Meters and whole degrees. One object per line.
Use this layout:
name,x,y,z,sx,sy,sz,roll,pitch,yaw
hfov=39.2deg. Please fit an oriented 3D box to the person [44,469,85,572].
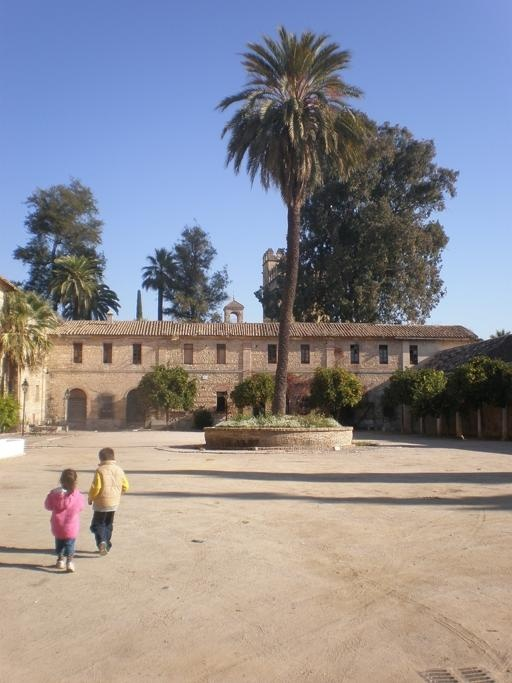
person,-1.779,1.632,6.652,0.329,0.870,0.557,2,-5,-15

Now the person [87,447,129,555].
person,-1.517,1.616,7.376,0.372,1.045,0.593,2,-4,-11

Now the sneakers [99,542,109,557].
sneakers,-1.511,2.045,7.146,0.056,0.180,0.070,-5,3,-11

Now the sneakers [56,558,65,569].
sneakers,-1.776,2.012,6.548,0.048,0.068,0.140,2,-4,-5
